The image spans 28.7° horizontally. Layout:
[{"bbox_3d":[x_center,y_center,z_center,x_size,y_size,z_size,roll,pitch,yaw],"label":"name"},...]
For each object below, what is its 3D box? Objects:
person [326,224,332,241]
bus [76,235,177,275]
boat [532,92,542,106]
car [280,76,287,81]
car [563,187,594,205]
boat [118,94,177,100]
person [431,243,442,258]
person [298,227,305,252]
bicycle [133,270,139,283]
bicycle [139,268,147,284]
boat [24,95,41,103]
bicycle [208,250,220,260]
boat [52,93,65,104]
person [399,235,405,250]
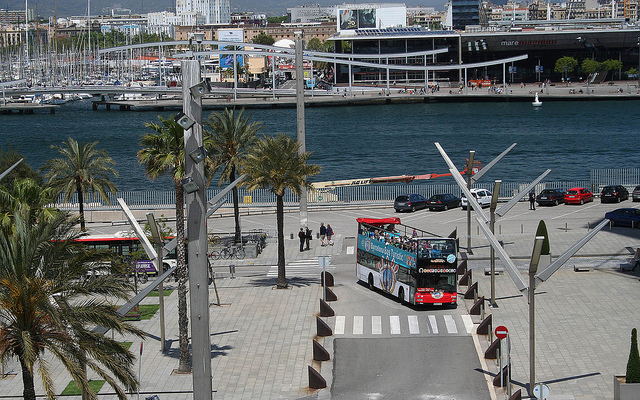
[{"bbox_3d":[1.162,4.514,169.910,0.530,2.133,0.634,2,12,25],"label":"person"},{"bbox_3d":[-23.023,6.842,150.719,15.070,5.140,4.698,-1,9,2],"label":"bus"},{"bbox_3d":[53.989,-24.865,312.413,1.672,3.288,5.494,0,12,13],"label":"boat"},{"bbox_3d":[-11.504,-37.508,384.820,1.847,1.530,2.941,1,8,7],"label":"car"},{"bbox_3d":[38.186,-0.661,184.917,2.138,1.663,3.626,5,15,38],"label":"car"},{"bbox_3d":[-45.771,-27.759,335.961,13.177,2.116,2.733,3,7,29],"label":"boat"},{"bbox_3d":[14.020,6.305,152.049,1.010,1.614,0.458,-2,-3,2],"label":"person"},{"bbox_3d":[-2.441,5.538,168.923,0.693,2.825,1.225,-3,11,0],"label":"person"},{"bbox_3d":[-23.418,9.791,159.258,0.715,2.015,0.499,13,-6,-40],"label":"bicycle"},{"bbox_3d":[-22.861,9.724,162.028,0.828,1.564,2.277,-5,12,-13],"label":"bicycle"},{"bbox_3d":[-79.487,-27.709,347.699,3.600,1.478,2.941,-2,5,1],"label":"boat"},{"bbox_3d":[-14.030,7.399,166.968,1.272,1.181,0.978,-4,11,-5],"label":"bicycle"},{"bbox_3d":[-73.707,-28.736,353.681,3.839,4.025,4.020,1,10,-1],"label":"boat"},{"bbox_3d":[9.963,5.225,153.466,0.400,1.674,0.986,-8,12,-28],"label":"person"}]
